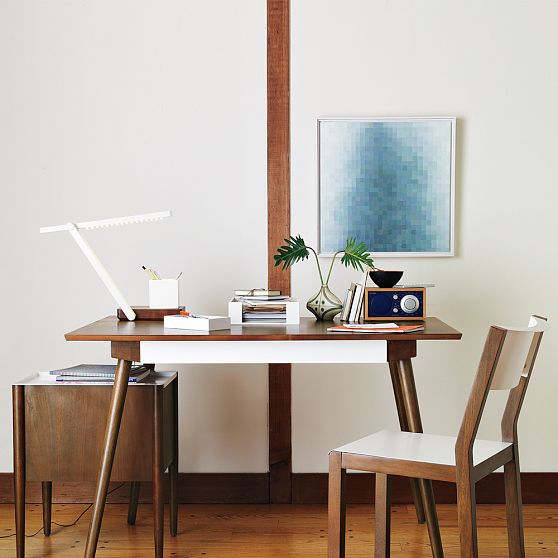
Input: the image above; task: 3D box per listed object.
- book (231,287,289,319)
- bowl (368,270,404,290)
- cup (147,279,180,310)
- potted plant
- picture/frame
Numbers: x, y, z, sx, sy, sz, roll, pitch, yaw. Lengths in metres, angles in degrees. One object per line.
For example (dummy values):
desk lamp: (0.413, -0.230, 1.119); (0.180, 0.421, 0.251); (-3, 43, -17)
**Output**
book: (-0.071, 0.089, 2.571); (0.206, 0.095, 0.201); (-2, 10, 4)
bowl: (0.410, -0.002, 2.640); (0.120, 0.070, 0.187); (3, 11, 28)
cup: (-0.448, 0.062, 2.687); (0.111, 0.109, 0.112); (0, 1, 0)
potted plant: (0.172, 0.008, 2.650); (0.362, 0.333, 0.152); (0, 3, 1)
picture/frame: (0.472, -0.403, 2.939); (0.599, 0.606, 0.026); (0, 2, 3)
